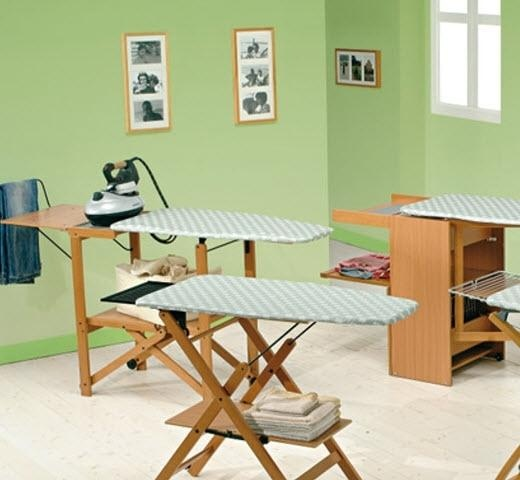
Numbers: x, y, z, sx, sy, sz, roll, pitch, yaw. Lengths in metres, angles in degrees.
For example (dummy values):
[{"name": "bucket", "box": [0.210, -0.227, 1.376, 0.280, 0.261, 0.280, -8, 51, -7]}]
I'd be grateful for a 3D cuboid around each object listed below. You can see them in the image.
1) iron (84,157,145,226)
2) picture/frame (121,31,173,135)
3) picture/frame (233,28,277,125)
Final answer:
[{"name": "iron", "box": [-0.801, -0.252, 3.035, 0.331, 0.368, 0.305, 1, 19, -22]}, {"name": "picture/frame", "box": [-0.744, -1.087, 3.802, 0.412, 0.605, 0.042, -10, 22, -34]}, {"name": "picture/frame", "box": [-0.039, -1.238, 4.182, 0.399, 0.728, 0.070, 3, 4, -36]}]
